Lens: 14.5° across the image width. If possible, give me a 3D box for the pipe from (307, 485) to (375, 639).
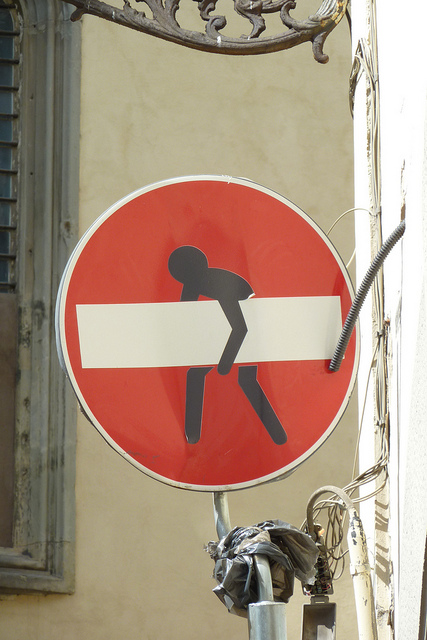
[{"bbox_3d":[0.514,0.970,6.908,0.233,0.685,0.457,-10,-43,4],"label":"pipe"}]
